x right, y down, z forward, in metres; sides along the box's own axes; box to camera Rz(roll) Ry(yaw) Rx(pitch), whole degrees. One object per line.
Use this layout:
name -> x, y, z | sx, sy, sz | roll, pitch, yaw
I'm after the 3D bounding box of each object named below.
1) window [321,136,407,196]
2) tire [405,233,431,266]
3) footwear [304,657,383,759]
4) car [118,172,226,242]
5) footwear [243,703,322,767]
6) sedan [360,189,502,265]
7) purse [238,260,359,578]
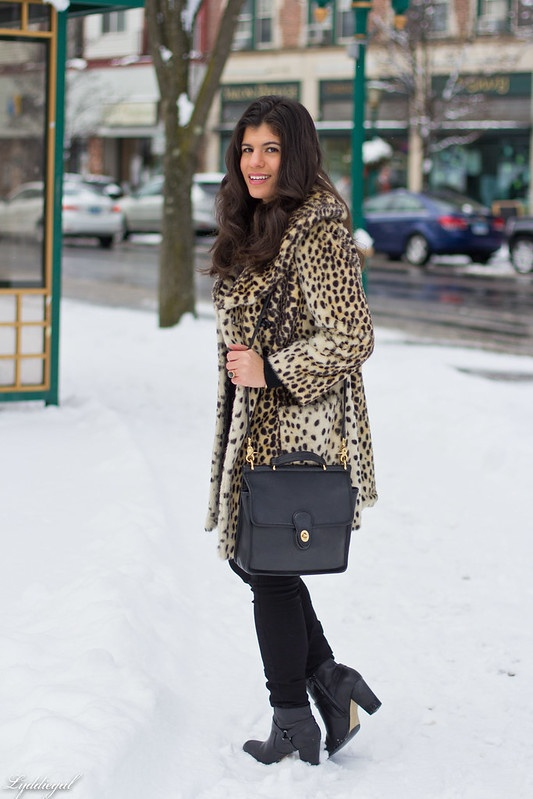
window -> 3.133, -6.429, 27.621 | 1.752, 1.761, 0.046 | -15, 23, -28
tire -> 2.590, -2.633, 17.729 | 0.137, 0.490, 0.505 | 3, 39, -33
footwear -> 0.172, 0.801, 2.646 | 0.188, 0.240, 0.088 | 44, 24, 23
car -> -2.224, -3.829, 19.930 | 2.270, 1.155, 1.262 | 4, 16, 8
footwear -> 0.059, 0.853, 2.612 | 0.221, 0.172, 0.096 | 4, 2, 21
sedan -> 2.971, -2.982, 17.443 | 1.214, 1.013, 2.958 | -2, 16, -22
purse -> 0.075, 0.063, 2.322 | 0.274, 0.690, 0.149 | -1, 14, 2
